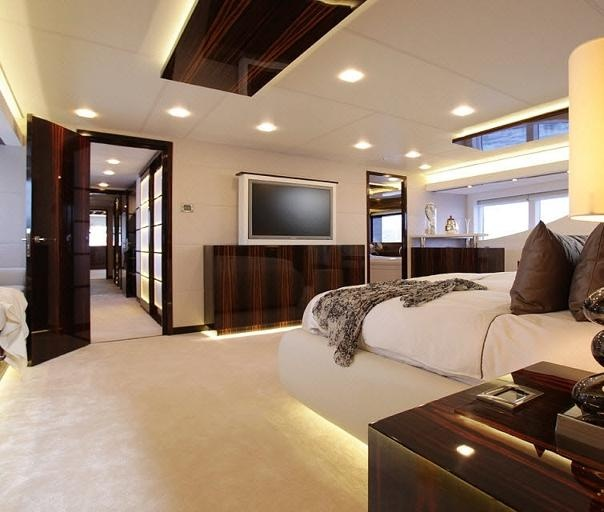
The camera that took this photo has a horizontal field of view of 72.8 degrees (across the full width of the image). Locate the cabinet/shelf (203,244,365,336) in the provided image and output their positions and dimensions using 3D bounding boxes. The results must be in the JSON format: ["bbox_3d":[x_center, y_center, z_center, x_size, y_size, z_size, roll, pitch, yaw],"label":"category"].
[{"bbox_3d":[-0.088,0.346,5.480,2.161,1.118,0.412,-2,5,-23],"label":"cabinet/shelf"}]
